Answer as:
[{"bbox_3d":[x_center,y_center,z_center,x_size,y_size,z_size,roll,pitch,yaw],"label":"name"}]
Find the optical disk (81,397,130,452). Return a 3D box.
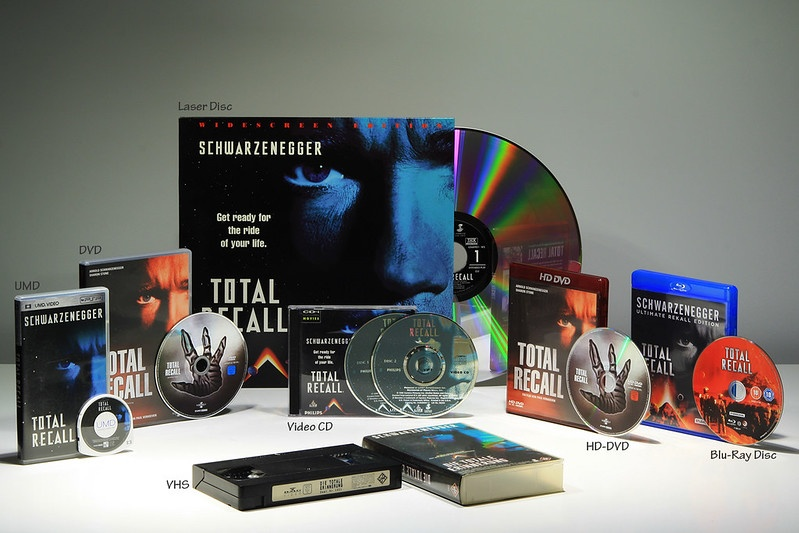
[{"bbox_3d":[-0.913,0.486,2.216,0.178,0.207,0.028,0,1,-30],"label":"optical disk"}]
